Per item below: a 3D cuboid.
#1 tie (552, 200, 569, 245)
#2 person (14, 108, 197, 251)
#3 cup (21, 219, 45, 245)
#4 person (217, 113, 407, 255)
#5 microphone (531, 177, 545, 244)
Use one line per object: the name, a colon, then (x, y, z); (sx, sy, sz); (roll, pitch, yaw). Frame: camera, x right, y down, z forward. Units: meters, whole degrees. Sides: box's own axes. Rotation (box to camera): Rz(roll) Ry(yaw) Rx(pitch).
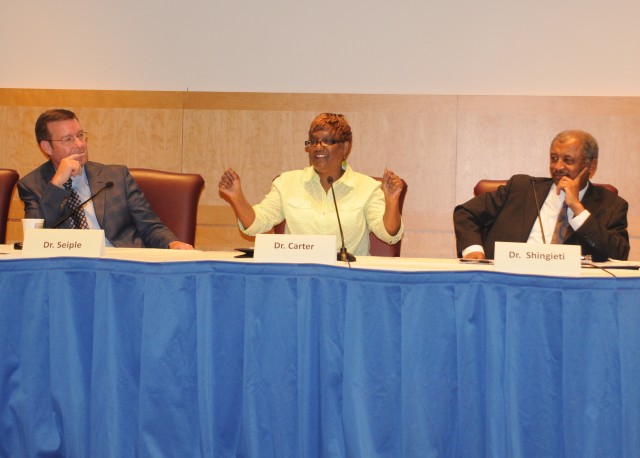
tie: (1.236, -0.031, 3.746); (0.089, 0.195, 0.157); (2, 8, 21)
person: (-1.144, -0.159, 3.740); (0.690, 0.923, 0.855); (-13, 9, -27)
cup: (-1.253, 0.012, 3.137); (0.119, 0.132, 0.116); (0, -1, 0)
person: (0.001, -0.284, 4.104); (0.772, 1.109, 0.460); (-2, -20, 8)
microphone: (1.133, -0.082, 3.797); (0.030, 0.360, 0.042); (-1, 20, 17)
